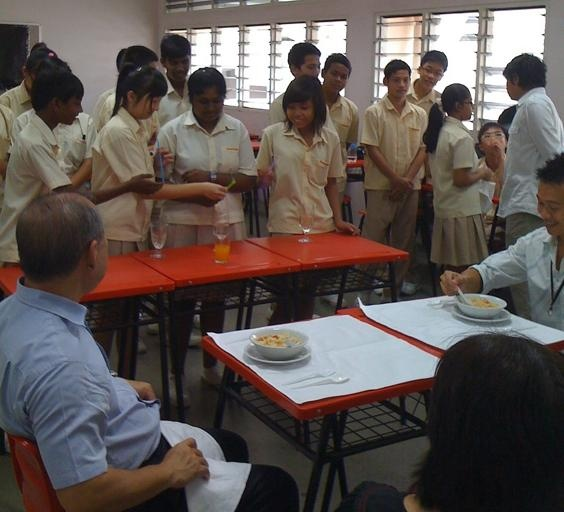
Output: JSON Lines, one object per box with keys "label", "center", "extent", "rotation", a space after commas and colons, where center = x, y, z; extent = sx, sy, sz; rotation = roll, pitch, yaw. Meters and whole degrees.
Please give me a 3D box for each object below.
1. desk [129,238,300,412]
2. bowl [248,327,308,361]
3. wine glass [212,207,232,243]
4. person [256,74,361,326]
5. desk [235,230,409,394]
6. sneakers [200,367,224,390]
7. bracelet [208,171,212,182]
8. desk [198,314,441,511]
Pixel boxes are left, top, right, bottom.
{"label": "desk", "center": [-0.350, 0.186, 2.652], "extent": [0.683, 0.767, 0.713], "rotation": [-8, 16, -27]}
{"label": "bowl", "center": [0.005, 0.288, 1.613], "extent": [0.164, 0.070, 0.179], "rotation": [8, -2, 0]}
{"label": "wine glass", "center": [-0.284, -0.149, 2.583], "extent": [0.098, 0.144, 0.102], "rotation": [-4, -8, -29]}
{"label": "person", "center": [0.091, -0.274, 3.279], "extent": [0.688, 1.744, 0.486], "rotation": [-6, 22, -17]}
{"label": "desk", "center": [0.241, 0.207, 2.878], "extent": [0.634, 0.710, 0.667], "rotation": [-8, 18, -24]}
{"label": "sneakers", "center": [-0.419, 0.727, 3.006], "extent": [0.144, 0.112, 0.079], "rotation": [12, 14, 41]}
{"label": "bracelet", "center": [-0.414, -0.457, 2.889], "extent": [0.025, 0.040, 0.013], "rotation": [-2, -3, -7]}
{"label": "desk", "center": [0.135, 0.523, 1.646], "extent": [0.583, 0.654, 0.612], "rotation": [-8, 18, -28]}
